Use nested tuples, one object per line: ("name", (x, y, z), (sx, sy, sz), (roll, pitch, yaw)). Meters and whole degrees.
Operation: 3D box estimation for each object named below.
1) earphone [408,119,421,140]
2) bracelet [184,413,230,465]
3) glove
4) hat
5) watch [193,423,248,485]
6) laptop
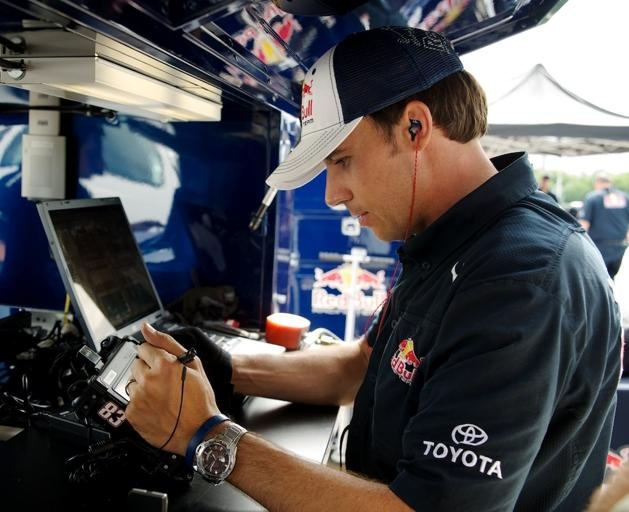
("earphone", (0.200, -0.255, 1.101), (0.025, 0.034, 0.012), (-9, 13, -21))
("bracelet", (-0.224, 0.356, 1.099), (0.095, 0.083, 0.095), (4, 10, -3))
("glove", (-0.298, 0.238, 1.509), (0.214, 0.141, 0.175), (1, 11, -26))
("hat", (0.139, -0.325, 1.275), (0.321, 0.333, 0.373), (-6, 17, -39))
("watch", (-0.178, 0.373, 1.123), (0.083, 0.111, 0.117), (38, 2, 14))
("laptop", (-0.357, 0.071, 1.662), (0.731, 0.507, 0.532), (0, 8, 19))
